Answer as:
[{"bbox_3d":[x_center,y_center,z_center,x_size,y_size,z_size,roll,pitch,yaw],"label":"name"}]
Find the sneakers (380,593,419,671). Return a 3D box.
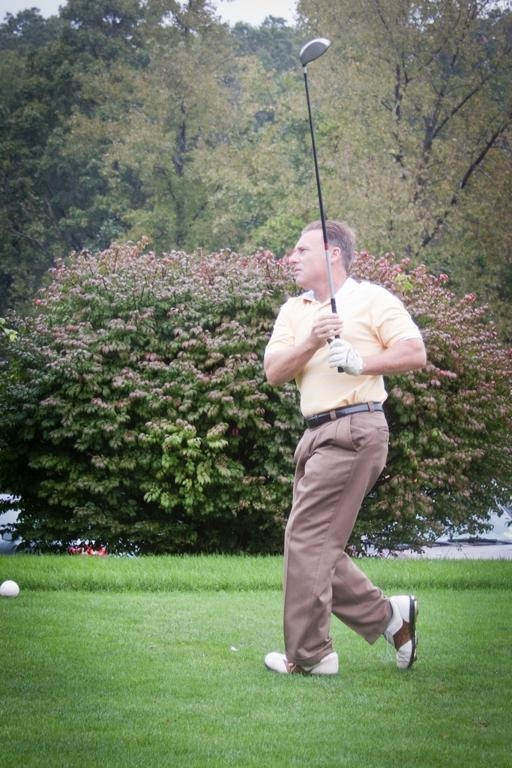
[{"bbox_3d":[0.635,1.090,4.642,0.163,0.328,0.116,-1,-2,-11],"label":"sneakers"}]

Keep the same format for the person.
[{"bbox_3d":[0.373,0.250,4.681,0.727,1.835,0.542,2,-1,8],"label":"person"}]

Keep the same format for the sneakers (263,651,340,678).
[{"bbox_3d":[0.208,1.232,4.604,0.320,0.135,0.117,7,-11,13],"label":"sneakers"}]

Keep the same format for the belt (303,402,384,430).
[{"bbox_3d":[0.389,0.141,4.650,0.334,0.109,0.176,2,-1,6],"label":"belt"}]

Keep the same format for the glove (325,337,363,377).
[{"bbox_3d":[0.377,-0.124,4.457,0.169,0.125,0.077,30,-41,-24],"label":"glove"}]
